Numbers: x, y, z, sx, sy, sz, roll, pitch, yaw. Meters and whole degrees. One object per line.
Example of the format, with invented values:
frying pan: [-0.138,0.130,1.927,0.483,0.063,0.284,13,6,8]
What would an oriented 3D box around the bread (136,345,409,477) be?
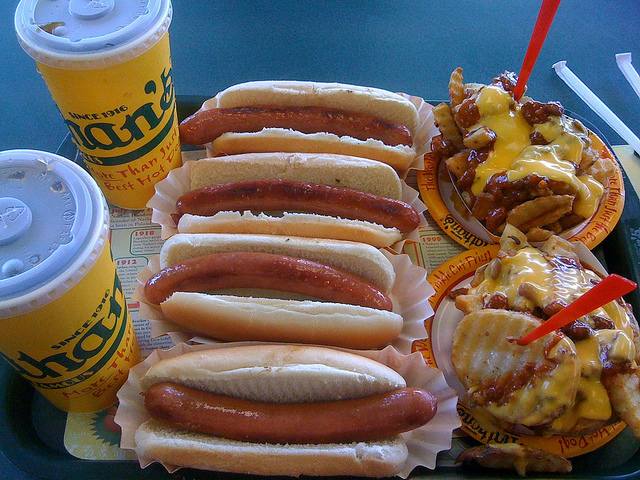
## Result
bread: [-0.229,0.866,2.878,1.380,0.360,0.615,0,56,-1]

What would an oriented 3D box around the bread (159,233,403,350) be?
bread: [-0.258,0.292,3.371,1.443,0.433,0.694,9,46,4]
